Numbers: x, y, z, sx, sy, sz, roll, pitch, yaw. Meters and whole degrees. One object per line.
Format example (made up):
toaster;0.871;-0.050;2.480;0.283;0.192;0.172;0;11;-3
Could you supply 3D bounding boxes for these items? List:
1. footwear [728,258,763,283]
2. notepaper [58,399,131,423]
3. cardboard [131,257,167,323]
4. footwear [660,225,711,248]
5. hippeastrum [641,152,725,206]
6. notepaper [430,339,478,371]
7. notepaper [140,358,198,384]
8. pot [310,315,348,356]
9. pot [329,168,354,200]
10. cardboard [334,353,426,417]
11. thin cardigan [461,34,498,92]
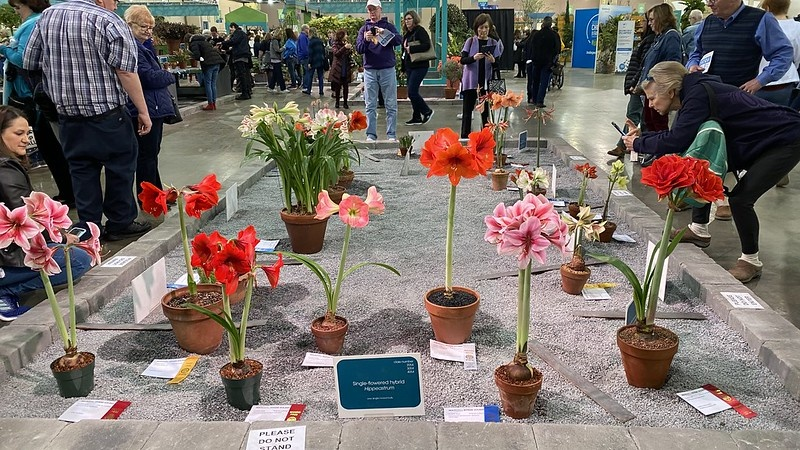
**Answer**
footwear;2.803;0.362;3.936;0.364;0.150;0.175;-8;10;-24
notepaper;-1.789;1.087;2.779;0.359;0.053;0.177;-2;22;0
cardboard;-1.842;0.468;3.482;0.108;0.384;0.340;8;26;25
footwear;2.323;0.095;3.863;0.333;0.131;0.130;15;3;11
hippeastrum;1.630;-0.254;2.784;0.434;0.315;0.219;1;24;9
notepaper;0.352;0.833;3.132;0.195;0.044;0.166;-3;42;6
notepaper;-1.478;0.916;3.082;0.293;0.055;0.229;3;23;13
pot;-0.463;0.718;3.140;0.268;0.180;0.255;0;14;0
pot;-0.659;-0.457;5.340;0.388;0.274;0.365;-2;29;1
cardboard;-0.121;0.923;2.739;0.492;0.377;0.118;-3;24;-1
thin cardigan;1.232;-2.513;7.384;0.404;0.992;0.351;10;15;40
